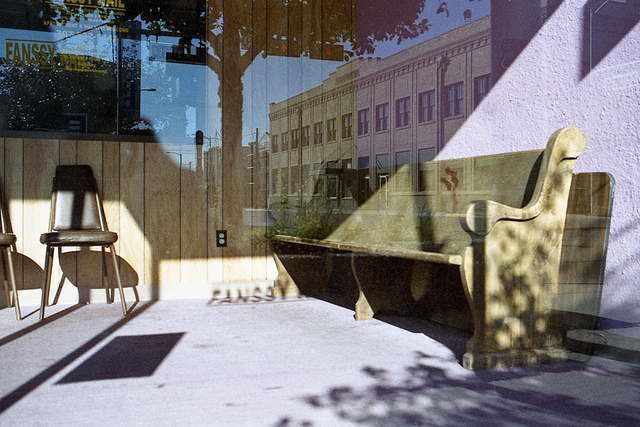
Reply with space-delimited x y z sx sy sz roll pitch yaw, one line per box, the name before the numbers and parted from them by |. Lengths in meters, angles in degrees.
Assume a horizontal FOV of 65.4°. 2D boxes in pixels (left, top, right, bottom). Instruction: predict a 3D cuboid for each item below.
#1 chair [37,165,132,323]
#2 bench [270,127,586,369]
chair | -2.003 0.191 4.239 0.691 1.260 0.741 -1 3 -29
bench | 0.556 0.170 4.113 0.814 1.392 3.013 1 0 -22
